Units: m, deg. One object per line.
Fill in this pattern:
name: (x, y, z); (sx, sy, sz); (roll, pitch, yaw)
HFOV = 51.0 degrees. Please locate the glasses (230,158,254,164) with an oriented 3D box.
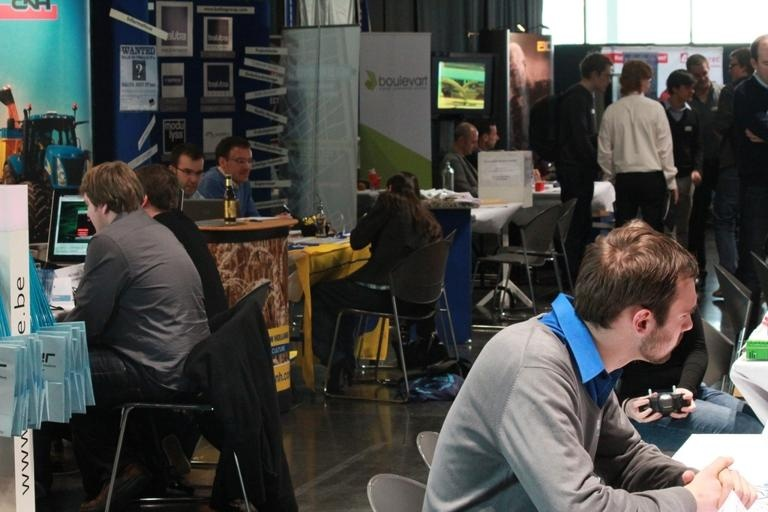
glasses: (-1.111, -0.759, 6.433); (0.087, 0.050, 0.225); (0, 6, 20)

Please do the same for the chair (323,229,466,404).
chair: (0.149, 0.383, 6.194); (1.013, 1.802, 0.989); (4, 6, 28)

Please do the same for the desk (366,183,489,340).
desk: (0.607, 0.075, 7.004); (0.710, 1.751, 0.882); (0, 2, 8)

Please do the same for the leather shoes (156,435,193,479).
leather shoes: (-1.141, 1.109, 4.412); (0.127, 0.211, 0.198); (-5, -23, -23)

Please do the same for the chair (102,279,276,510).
chair: (-0.859, 0.728, 4.423); (0.962, 1.634, 0.875); (3, -3, -6)

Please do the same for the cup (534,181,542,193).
cup: (1.716, -0.768, 8.996); (0.073, 0.107, 0.146); (1, 4, 14)

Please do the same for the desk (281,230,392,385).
desk: (-0.407, 0.408, 5.805); (1.008, 1.172, 0.867); (0, 0, 34)

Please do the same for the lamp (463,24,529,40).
lamp: (1.681, -3.480, 12.480); (0.754, 0.208, 0.522); (-2, 4, -4)
